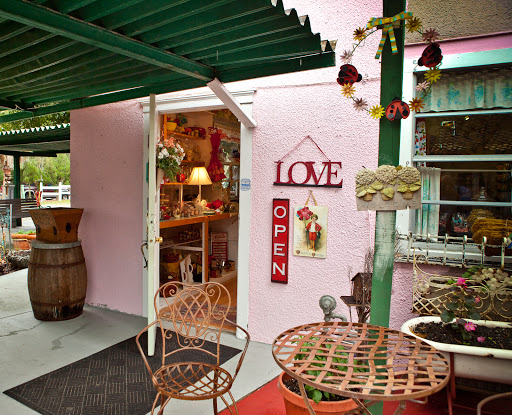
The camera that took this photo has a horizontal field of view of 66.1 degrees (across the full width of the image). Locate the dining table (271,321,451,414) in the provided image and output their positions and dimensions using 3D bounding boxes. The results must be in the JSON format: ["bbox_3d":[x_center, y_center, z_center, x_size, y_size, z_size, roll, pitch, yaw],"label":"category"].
[{"bbox_3d":[0.518,0.795,2.010,0.836,0.189,0.792,1,8,12],"label":"dining table"}]

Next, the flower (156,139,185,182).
[{"bbox_3d":[-1.036,-0.594,4.793,0.340,0.441,0.411,2,-3,-32],"label":"flower"}]

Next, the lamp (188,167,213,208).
[{"bbox_3d":[-0.920,-0.372,6.408,0.367,0.605,0.699,-2,9,-8],"label":"lamp"}]
